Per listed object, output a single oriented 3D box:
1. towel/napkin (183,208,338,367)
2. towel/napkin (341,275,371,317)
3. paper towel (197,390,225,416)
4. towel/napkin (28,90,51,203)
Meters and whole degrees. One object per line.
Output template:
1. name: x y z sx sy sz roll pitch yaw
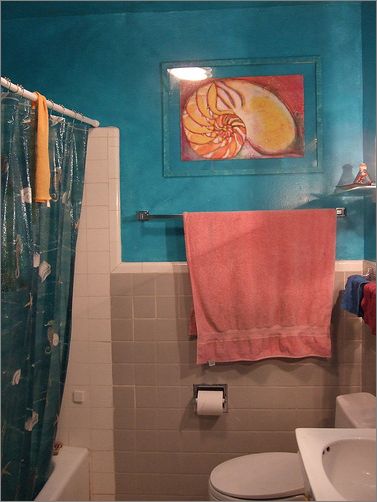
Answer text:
1. towel/napkin: 0.336 0.153 2.220 0.889 0.742 0.097 -1 2 -3
2. towel/napkin: 0.687 0.185 2.034 0.063 0.144 0.159 4 5 -9
3. paper towel: 0.097 0.689 2.209 0.148 0.106 0.098 3 -19 5
4. towel/napkin: -0.542 -0.371 1.790 0.074 0.385 0.161 -4 4 -14
